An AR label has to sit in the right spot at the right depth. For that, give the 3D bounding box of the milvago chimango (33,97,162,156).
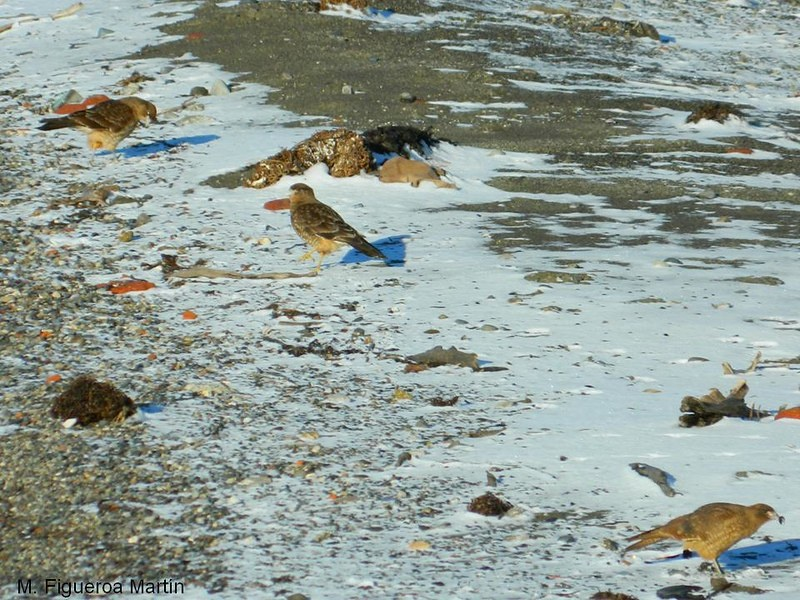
[{"bbox_3d":[-5.089,-2.921,18.730,1.989,0.580,0.592,-8,25,-40],"label":"milvago chimango"}]

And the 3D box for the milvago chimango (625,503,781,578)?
[{"bbox_3d":[2.817,2.195,10.551,1.151,0.602,0.556,-13,35,-26],"label":"milvago chimango"}]
